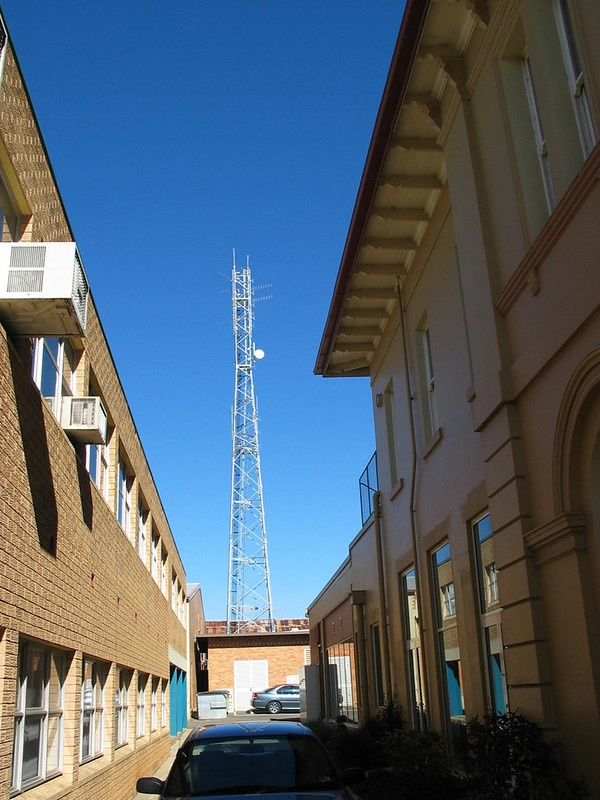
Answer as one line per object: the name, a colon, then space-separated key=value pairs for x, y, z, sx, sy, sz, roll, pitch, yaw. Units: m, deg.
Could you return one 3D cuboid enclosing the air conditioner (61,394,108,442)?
air conditioner: x=-2.646 y=0.266 z=7.247 sx=0.370 sy=0.555 sz=0.790 roll=-1 pitch=-14 yaw=-2
